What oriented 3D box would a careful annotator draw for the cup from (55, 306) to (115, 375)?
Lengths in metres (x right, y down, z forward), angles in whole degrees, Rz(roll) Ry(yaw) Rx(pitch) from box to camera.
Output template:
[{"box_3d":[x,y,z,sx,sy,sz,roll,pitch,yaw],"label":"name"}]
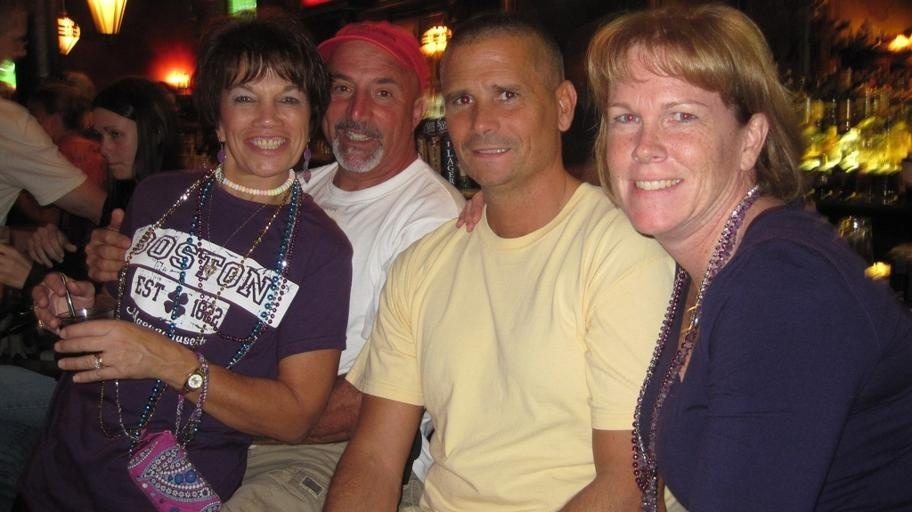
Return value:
[{"box_3d":[-1.771,0.385,3.665,0.295,0.191,0.244,-1,1,-24],"label":"cup"}]
